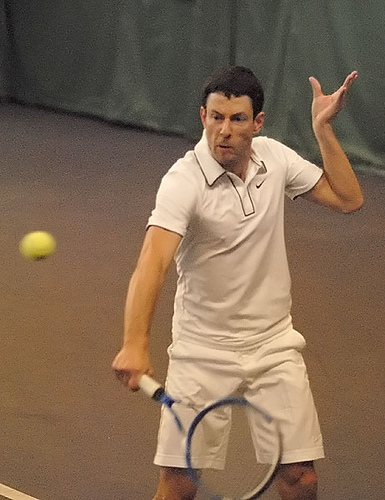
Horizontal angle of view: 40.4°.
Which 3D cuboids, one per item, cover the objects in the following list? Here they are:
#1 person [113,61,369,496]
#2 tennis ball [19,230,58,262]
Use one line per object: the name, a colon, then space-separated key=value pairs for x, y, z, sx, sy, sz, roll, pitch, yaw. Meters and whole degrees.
person: x=0.164 y=0.068 z=1.388 sx=0.535 sy=1.107 sz=0.732 roll=10 pitch=16 yaw=6
tennis ball: x=-0.735 y=-0.016 z=2.528 sx=0.205 sy=0.120 sz=0.197 roll=5 pitch=-2 yaw=0
